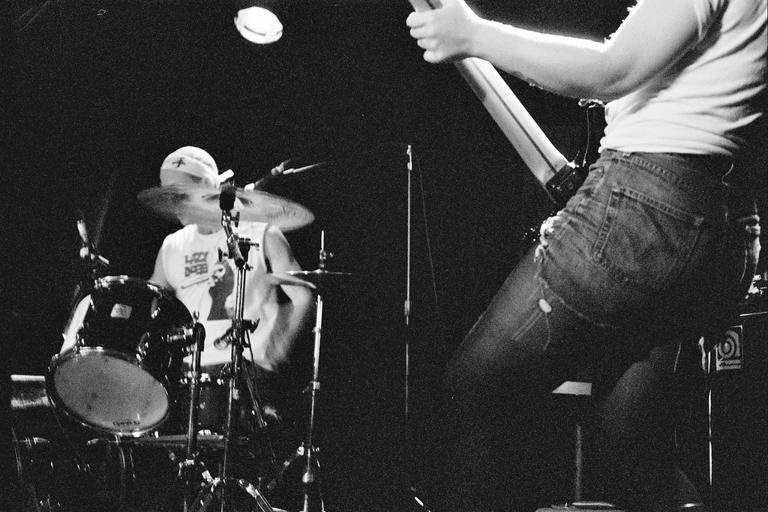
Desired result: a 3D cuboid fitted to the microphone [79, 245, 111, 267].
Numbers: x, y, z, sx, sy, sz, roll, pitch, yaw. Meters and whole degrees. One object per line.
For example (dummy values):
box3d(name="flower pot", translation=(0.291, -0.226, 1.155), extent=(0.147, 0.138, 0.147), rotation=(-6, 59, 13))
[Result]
box3d(name="microphone", translation=(-1.517, 0.007, 4.895), extent=(0.091, 0.147, 0.076), rotation=(-32, -17, -29))

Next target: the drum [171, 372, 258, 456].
box3d(name="drum", translation=(-0.876, 0.803, 4.905), extent=(0.413, 0.432, 0.407), rotation=(2, -3, -8))

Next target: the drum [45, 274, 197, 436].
box3d(name="drum", translation=(-1.341, 0.529, 4.873), extent=(0.642, 0.530, 0.684), rotation=(3, -44, 3))

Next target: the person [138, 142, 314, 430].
box3d(name="person", translation=(-0.813, 0.214, 4.839), extent=(1.092, 1.478, 0.888), rotation=(-11, -17, 34))
